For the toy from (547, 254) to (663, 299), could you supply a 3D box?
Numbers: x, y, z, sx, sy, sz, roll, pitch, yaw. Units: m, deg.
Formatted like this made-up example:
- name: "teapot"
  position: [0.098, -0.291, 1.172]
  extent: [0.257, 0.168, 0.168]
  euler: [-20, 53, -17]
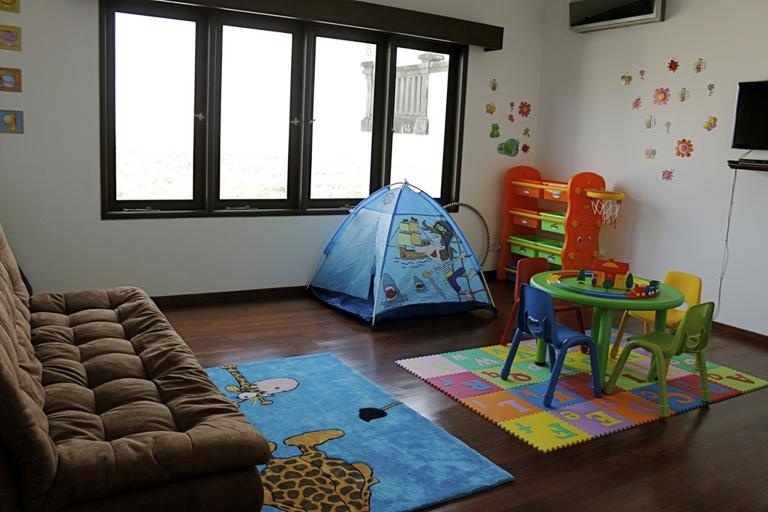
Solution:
- name: "toy"
  position: [1.557, 0.181, 3.697]
  extent: [0.432, 0.124, 0.436]
  euler: [9, 14, 37]

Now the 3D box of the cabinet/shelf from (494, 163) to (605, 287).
- name: "cabinet/shelf"
  position: [1.729, -0.335, 5.510]
  extent: [0.656, 1.255, 1.118]
  euler: [-8, 16, -23]

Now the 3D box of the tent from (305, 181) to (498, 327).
- name: "tent"
  position: [0.024, -0.205, 5.187]
  extent: [1.367, 1.085, 1.423]
  euler: [-4, 12, -28]

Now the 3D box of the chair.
- name: "chair"
  position: [1.603, 0.503, 3.567]
  extent: [1.070, 0.521, 1.038]
  euler: [-1, 4, -19]

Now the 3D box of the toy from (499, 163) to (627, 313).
- name: "toy"
  position: [1.740, -0.198, 5.098]
  extent: [0.565, 1.272, 1.379]
  euler: [-6, 16, -27]
